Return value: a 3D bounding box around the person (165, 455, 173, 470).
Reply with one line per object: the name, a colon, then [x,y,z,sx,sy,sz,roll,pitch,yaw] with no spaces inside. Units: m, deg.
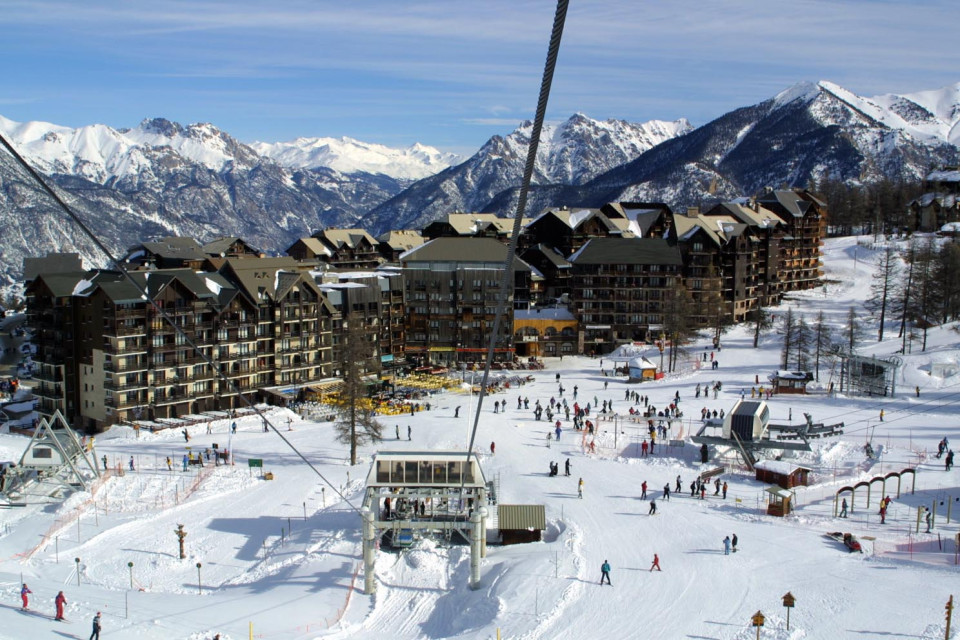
person: [-37.145,17.053,145.086,0.687,1.831,1.332,1,0,16]
